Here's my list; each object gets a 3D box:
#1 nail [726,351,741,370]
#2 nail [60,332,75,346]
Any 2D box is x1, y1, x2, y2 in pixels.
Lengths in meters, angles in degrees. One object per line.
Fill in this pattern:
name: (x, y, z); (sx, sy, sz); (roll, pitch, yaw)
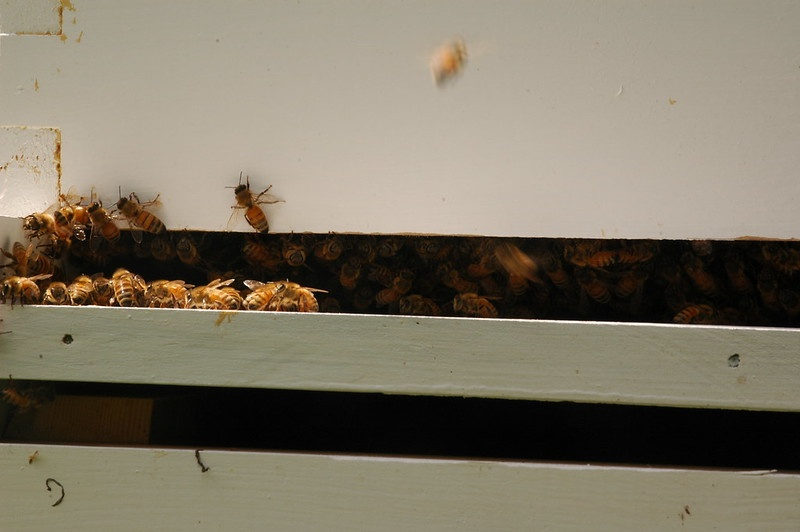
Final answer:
nail: (1.046, 0.293, 3.545); (0.043, 0.045, 0.012); (28, 2, 6)
nail: (-1.052, 0.229, 3.605); (0.039, 0.042, 0.009); (2, -5, 3)
